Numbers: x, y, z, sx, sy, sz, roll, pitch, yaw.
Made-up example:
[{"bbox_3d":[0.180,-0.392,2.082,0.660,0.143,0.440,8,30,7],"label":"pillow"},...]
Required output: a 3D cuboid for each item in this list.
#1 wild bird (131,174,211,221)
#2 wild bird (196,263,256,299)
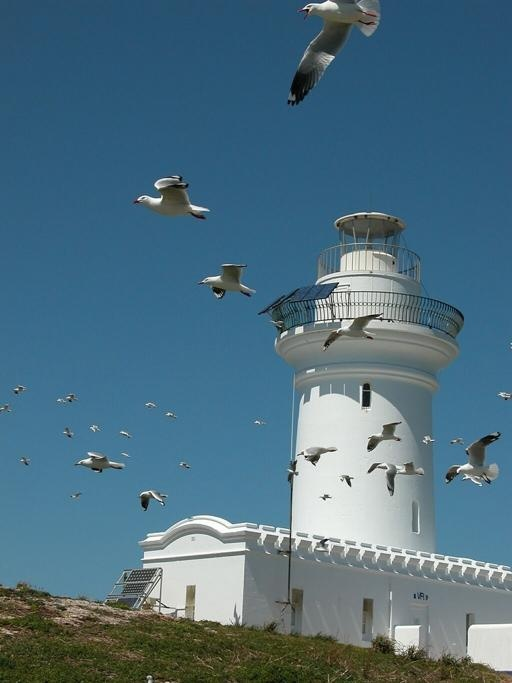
[{"bbox_3d":[-1.671,-2.935,32.979,0.969,0.666,1.335,10,7,-26],"label":"wild bird"},{"bbox_3d":[-0.453,-1.107,29.697,0.809,0.289,1.075,-3,-25,-5],"label":"wild bird"}]
